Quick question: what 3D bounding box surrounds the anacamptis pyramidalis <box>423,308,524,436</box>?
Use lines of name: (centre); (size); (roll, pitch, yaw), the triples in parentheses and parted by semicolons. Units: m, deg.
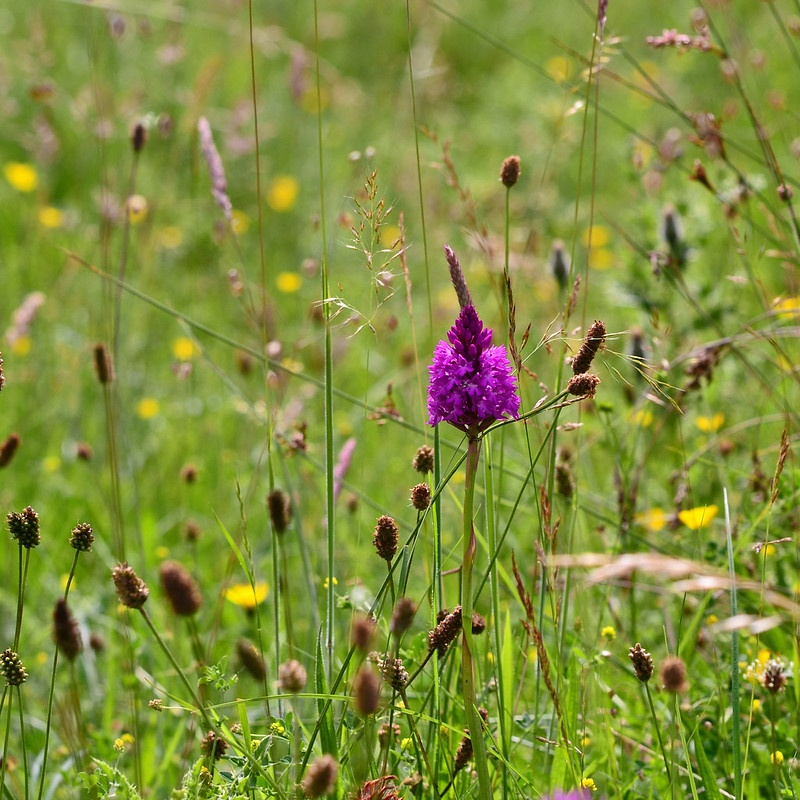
anacamptis pyramidalis: (0.134, -0.033, 2.496); (0.201, 0.391, 0.210); (0, -4, -36)
